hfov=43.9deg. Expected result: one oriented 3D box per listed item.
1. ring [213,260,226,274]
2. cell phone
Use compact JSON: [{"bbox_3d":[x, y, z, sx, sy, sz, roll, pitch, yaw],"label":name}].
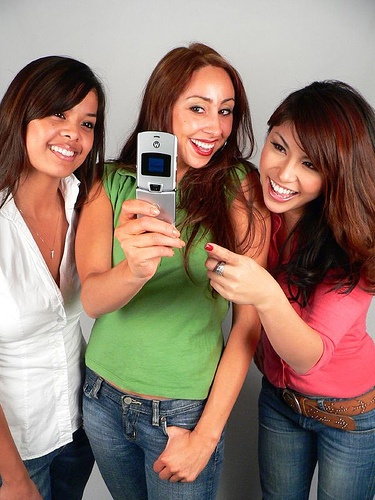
[{"bbox_3d":[0.070,0.037,1.023,0.020,0.025,0.026,9,28,-46],"label":"ring"},{"bbox_3d":[-0.065,-0.162,0.986,0.082,0.171,0.026,5,15,16],"label":"cell phone"}]
